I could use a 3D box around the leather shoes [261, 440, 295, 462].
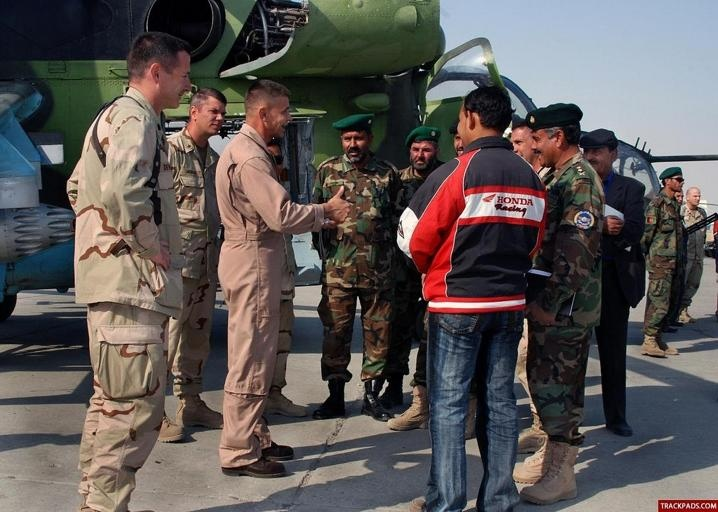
[{"bbox_3d":[-0.547,1.318,5.092,0.252,0.093,0.094,-1,-2,-9],"label":"leather shoes"}]

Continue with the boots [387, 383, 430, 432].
[{"bbox_3d":[0.362,1.154,5.739,0.428,0.297,0.167,0,0,-37],"label":"boots"}]

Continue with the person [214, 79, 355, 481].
[{"bbox_3d":[-0.619,0.145,4.934,0.463,2.568,0.620,0,5,-45],"label":"person"}]

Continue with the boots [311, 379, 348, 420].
[{"bbox_3d":[-0.240,1.096,5.906,0.196,0.330,0.372,11,13,28],"label":"boots"}]

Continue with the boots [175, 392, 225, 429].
[{"bbox_3d":[-1.206,1.155,5.725,0.402,0.259,0.127,6,1,-33],"label":"boots"}]

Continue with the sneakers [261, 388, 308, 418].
[{"bbox_3d":[-0.526,1.161,5.936,0.458,0.186,0.143,3,4,4],"label":"sneakers"}]

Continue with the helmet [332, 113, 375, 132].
[{"bbox_3d":[-0.058,-1.013,5.781,0.253,0.080,0.213,-1,8,8],"label":"helmet"}]

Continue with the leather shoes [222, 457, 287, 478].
[{"bbox_3d":[-0.672,1.357,4.953,0.417,0.172,0.142,-2,-1,1],"label":"leather shoes"}]

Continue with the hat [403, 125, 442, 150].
[{"bbox_3d":[0.493,-0.973,6.175,0.221,0.077,0.237,-1,1,-19],"label":"hat"}]

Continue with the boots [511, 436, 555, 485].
[{"bbox_3d":[1.123,1.369,4.975,0.374,0.220,0.128,14,0,-31],"label":"boots"}]

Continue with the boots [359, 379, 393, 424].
[{"bbox_3d":[0.144,1.122,5.891,0.159,0.315,0.358,-1,6,-29],"label":"boots"}]
